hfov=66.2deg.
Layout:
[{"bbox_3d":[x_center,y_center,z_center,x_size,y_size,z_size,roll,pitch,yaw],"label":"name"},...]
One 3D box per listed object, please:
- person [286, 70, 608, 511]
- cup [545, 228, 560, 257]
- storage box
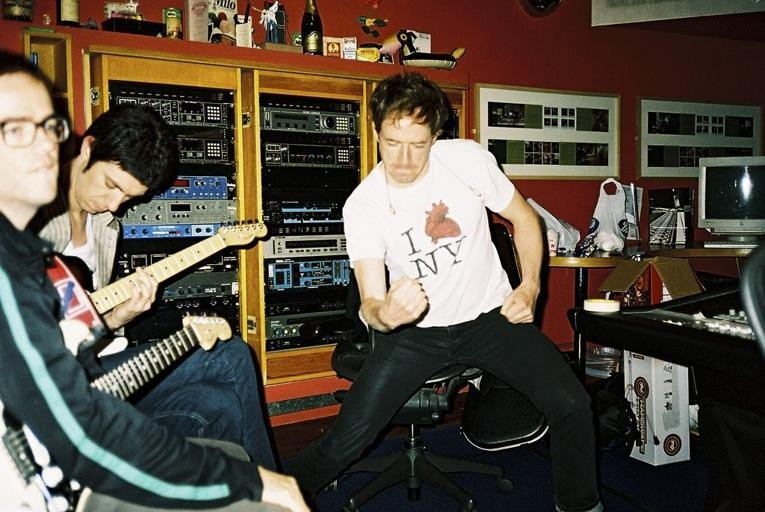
[{"bbox_3d":[0.235,0.127,2.655,1.268,1.905,0.847,-2,10,-10],"label":"person"},{"bbox_3d":[1.261,-0.101,4.361,0.157,0.258,0.162,1,5,0],"label":"cup"},{"bbox_3d":[1.557,0.867,3.330,0.372,0.609,0.216,4,10,22],"label":"storage box"}]
